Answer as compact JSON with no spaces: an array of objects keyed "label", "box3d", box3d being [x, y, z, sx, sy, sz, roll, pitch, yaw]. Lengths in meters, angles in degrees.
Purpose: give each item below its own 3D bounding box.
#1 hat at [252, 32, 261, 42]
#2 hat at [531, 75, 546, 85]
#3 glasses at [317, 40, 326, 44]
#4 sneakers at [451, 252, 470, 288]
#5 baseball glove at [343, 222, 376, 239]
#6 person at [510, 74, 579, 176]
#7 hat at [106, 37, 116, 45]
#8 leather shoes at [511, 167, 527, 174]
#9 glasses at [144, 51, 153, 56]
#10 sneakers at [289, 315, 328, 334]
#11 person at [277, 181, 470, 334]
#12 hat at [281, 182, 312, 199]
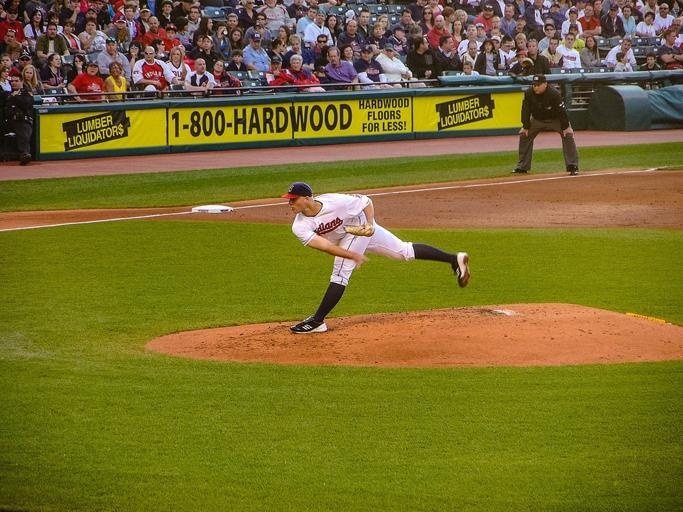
[{"label":"hat","box3d":[-2.247,-5.691,27.729,0.167,0.253,0.394,0,9,10]},{"label":"hat","box3d":[4.040,-3.581,21.765,0.247,0.136,0.326,5,6,31]},{"label":"glasses","box3d":[-0.538,-5.709,28.416,0.214,0.189,0.168,-2,9,-2]},{"label":"sneakers","box3d":[1.446,0.149,12.794,0.250,0.441,0.176,-7,18,9]},{"label":"baseball glove","box3d":[0.214,-0.293,11.881,0.385,0.133,0.112,-5,-23,-9]},{"label":"person","box3d":[4.271,-2.733,22.403,1.247,2.093,1.362,-1,10,7]},{"label":"hat","box3d":[-5.476,-5.055,25.149,0.381,0.147,0.502,-2,8,-10]},{"label":"leather shoes","box3d":[3.866,-1.859,23.201,0.397,0.125,0.114,8,30,0]},{"label":"glasses","box3d":[-4.677,-4.873,25.721,0.156,0.060,0.183,1,2,-3]},{"label":"sneakers","box3d":[-0.380,0.782,12.196,0.487,0.162,0.152,0,15,-7]},{"label":"person","box3d":[0.258,-0.099,12.093,2.313,1.399,0.865,-16,-6,-10]},{"label":"hat","box3d":[-0.491,-0.715,11.677,0.346,0.138,0.213,1,6,-6]}]
